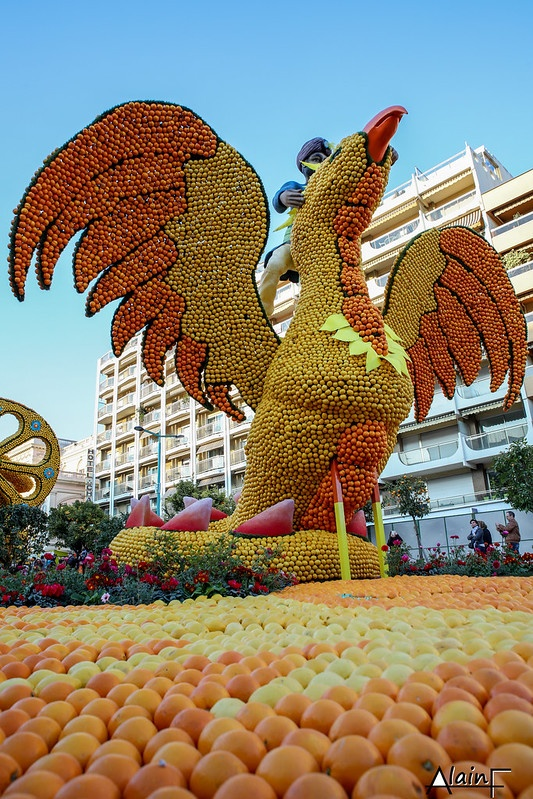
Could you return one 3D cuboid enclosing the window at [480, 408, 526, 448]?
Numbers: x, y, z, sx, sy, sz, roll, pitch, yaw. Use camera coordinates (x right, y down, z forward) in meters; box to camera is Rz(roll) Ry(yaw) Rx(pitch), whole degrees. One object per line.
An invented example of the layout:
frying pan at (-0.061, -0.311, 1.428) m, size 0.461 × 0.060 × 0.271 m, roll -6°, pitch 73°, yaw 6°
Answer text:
window at (10.339, 1.425, 24.462) m, size 1.775 × 0.402 × 1.897 m, roll -20°, pitch 1°, yaw 26°
